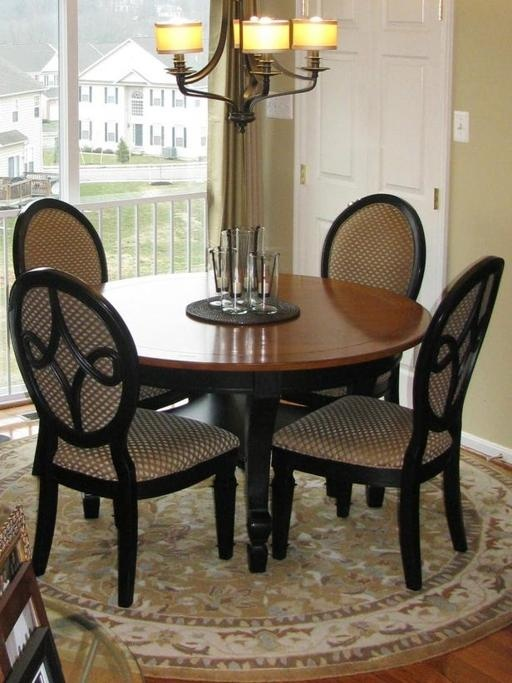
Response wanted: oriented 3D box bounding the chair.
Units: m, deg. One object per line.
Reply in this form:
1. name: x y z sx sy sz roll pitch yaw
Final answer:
1. chair: 0.024 0.132 1.960 1.329 0.839 1.070 4 15 20

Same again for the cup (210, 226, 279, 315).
1. cup: -0.039 -0.253 2.179 0.319 0.354 0.293 1 11 0
